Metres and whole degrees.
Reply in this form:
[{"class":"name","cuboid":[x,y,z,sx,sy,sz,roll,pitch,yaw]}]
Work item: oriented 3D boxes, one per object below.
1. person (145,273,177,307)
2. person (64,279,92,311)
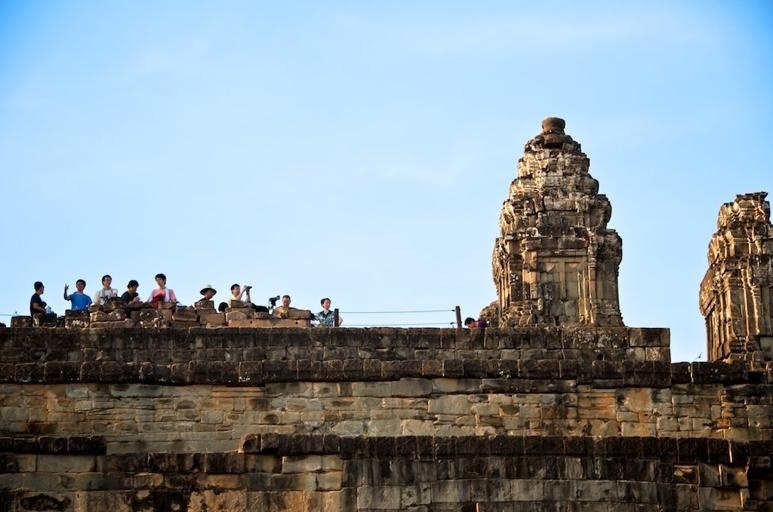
[{"class":"person","cuboid":[-5.761,1.005,43.054,0.752,1.080,0.564,-8,-13,20]},{"class":"person","cuboid":[-8.031,1.055,43.723,0.732,1.004,0.654,6,-24,-23]}]
